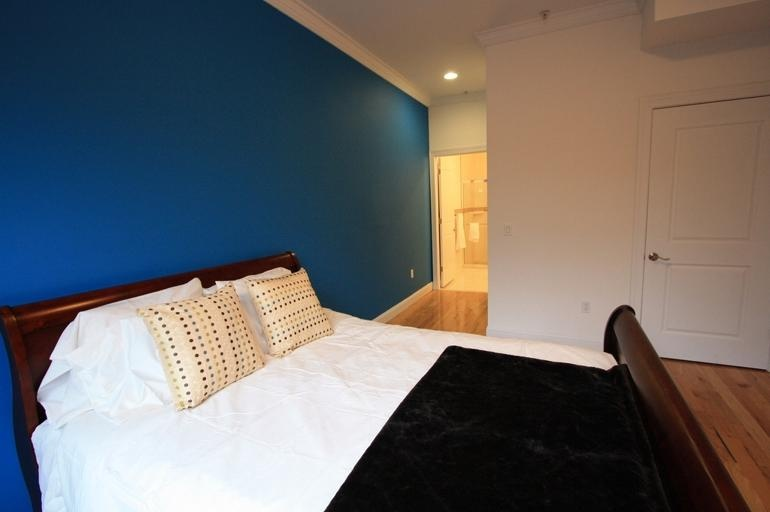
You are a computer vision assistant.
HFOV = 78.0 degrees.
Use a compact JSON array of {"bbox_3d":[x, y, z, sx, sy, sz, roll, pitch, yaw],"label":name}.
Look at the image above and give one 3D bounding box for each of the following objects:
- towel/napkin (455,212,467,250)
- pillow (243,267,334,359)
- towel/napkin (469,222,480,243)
[{"bbox_3d":[1.343,-0.461,8.516,0.118,0.743,0.683,0,4,24],"label":"towel/napkin"},{"bbox_3d":[-0.699,0.399,3.350,0.166,0.531,0.561,-25,-1,37],"label":"pillow"},{"bbox_3d":[1.678,-0.461,8.934,0.201,0.366,0.172,-1,10,9],"label":"towel/napkin"}]
